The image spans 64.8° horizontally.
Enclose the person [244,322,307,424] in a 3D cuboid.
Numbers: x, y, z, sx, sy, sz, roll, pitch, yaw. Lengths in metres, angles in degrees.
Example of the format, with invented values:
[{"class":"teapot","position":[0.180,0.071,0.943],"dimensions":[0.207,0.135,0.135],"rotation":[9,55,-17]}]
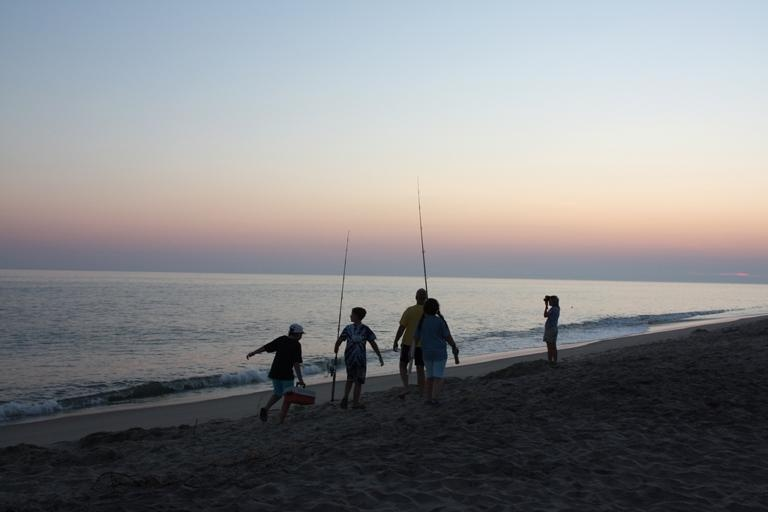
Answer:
[{"class":"person","position":[-1.837,2.114,11.091],"dimensions":[1.452,1.747,0.658],"rotation":[3,-5,33]}]

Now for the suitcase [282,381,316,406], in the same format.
[{"class":"suitcase","position":[-1.461,2.450,10.762],"dimensions":[0.507,0.342,0.644],"rotation":[-1,-12,35]}]
